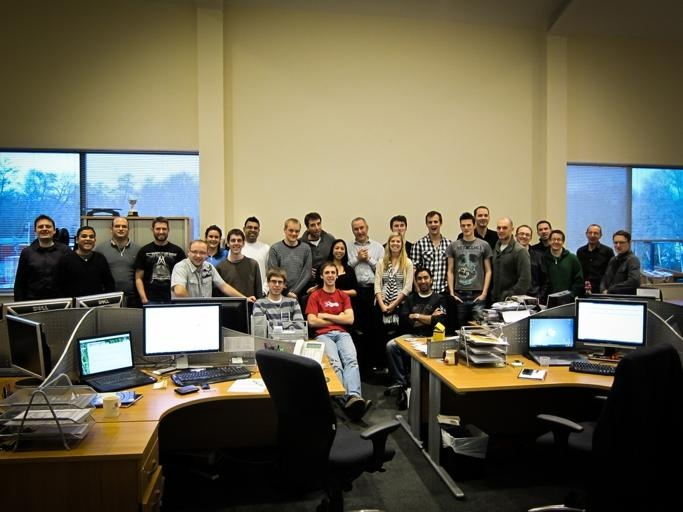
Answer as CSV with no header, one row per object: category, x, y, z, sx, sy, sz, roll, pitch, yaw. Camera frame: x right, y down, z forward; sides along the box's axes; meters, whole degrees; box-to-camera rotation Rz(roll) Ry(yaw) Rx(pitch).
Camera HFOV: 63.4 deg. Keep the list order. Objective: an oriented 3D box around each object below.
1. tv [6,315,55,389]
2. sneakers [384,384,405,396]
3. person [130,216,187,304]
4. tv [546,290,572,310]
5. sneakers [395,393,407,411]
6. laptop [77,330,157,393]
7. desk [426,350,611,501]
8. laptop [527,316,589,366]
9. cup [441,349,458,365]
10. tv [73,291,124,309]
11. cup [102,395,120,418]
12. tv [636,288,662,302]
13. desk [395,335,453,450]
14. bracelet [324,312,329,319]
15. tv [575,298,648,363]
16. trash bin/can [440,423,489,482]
tv,-2.275,0.685,4.052,0.472,0.504,0.192,-2,0,32
sneakers,0.529,1.385,5.704,0.155,0.063,0.160,-4,-2,5
person,-1.914,0.313,5.813,0.569,1.442,0.377,0,-4,-16
tv,1.974,0.407,5.054,0.203,0.126,0.497,0,5,20
sneakers,0.588,1.429,5.452,0.119,0.194,0.062,-2,-11,9
laptop,-1.667,0.771,4.093,0.444,0.315,0.460,5,5,33
desk,1.391,1.302,4.702,1.526,0.762,1.562,4,5,-15
laptop,1.775,0.697,4.589,0.480,0.322,0.414,2,10,21
cup,0.900,0.837,4.603,0.121,0.105,0.098,0,5,19
tv,-1.953,0.374,4.479,0.364,0.109,0.177,-5,6,-36
cup,-1.513,0.993,3.627,0.132,0.124,0.086,1,-1,-6
tv,2.755,0.340,4.959,0.188,0.084,0.481,1,5,29
desk,0.721,1.201,4.778,0.473,0.635,0.861,-1,7,-10
bracelet,-0.161,0.601,5.576,0.047,0.022,0.067,2,3,2
tv,2.228,0.600,4.563,0.480,0.479,0.161,0,-3,16
trash bin/can,0.973,1.553,4.435,0.323,0.332,0.424,0,-3,-7
